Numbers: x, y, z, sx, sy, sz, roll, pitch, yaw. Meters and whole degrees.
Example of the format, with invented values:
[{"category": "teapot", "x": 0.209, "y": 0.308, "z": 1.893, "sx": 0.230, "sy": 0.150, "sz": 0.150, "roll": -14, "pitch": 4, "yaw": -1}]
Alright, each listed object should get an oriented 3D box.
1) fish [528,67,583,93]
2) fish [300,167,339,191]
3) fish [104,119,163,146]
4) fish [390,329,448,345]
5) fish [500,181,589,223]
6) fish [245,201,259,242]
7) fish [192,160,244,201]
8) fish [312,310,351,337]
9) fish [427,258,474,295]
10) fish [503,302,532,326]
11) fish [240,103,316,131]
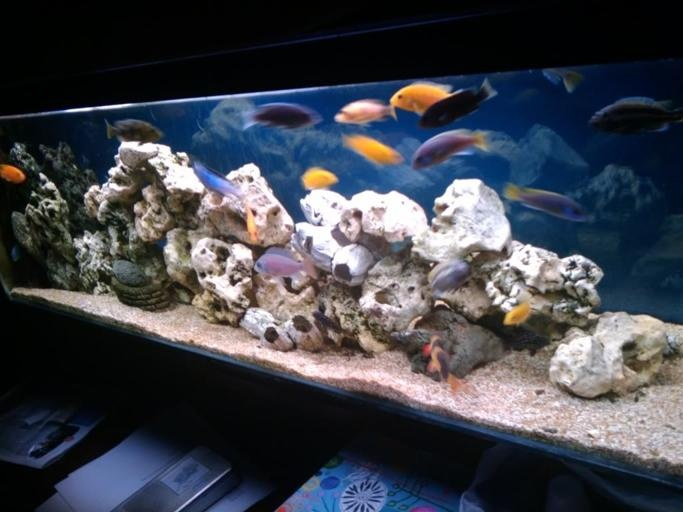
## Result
[{"category": "fish", "x": 0.781, "y": -0.643, "z": 1.920, "sx": 0.143, "sy": 0.071, "sz": 0.069, "roll": 19, "pitch": 45, "yaw": -13}, {"category": "fish", "x": -0.087, "y": -0.343, "z": 2.332, "sx": 0.176, "sy": 0.119, "sz": 0.035, "roll": 7, "pitch": 34, "yaw": 25}, {"category": "fish", "x": -1.070, "y": -0.638, "z": 2.709, "sx": 0.419, "sy": 0.141, "sz": 0.081, "roll": 16, "pitch": 42, "yaw": 30}, {"category": "fish", "x": 0.344, "y": 0.354, "z": 2.379, "sx": 0.261, "sy": 0.088, "sz": 0.076, "roll": 4, "pitch": 58, "yaw": 8}, {"category": "fish", "x": 0.785, "y": -0.210, "z": 2.022, "sx": 0.240, "sy": 0.081, "sz": 0.040, "roll": 22, "pitch": 53, "yaw": 25}, {"category": "fish", "x": -0.428, "y": -0.166, "z": 2.633, "sx": 0.048, "sy": 0.208, "sz": 0.059, "roll": -4, "pitch": 17, "yaw": 18}, {"category": "fish", "x": -0.605, "y": -0.373, "z": 2.618, "sx": 0.308, "sy": 0.173, "sz": 0.026, "roll": 18, "pitch": 43, "yaw": 33}, {"category": "fish", "x": -0.066, "y": 0.325, "z": 2.639, "sx": 0.233, "sy": 0.093, "sz": 0.062, "roll": 41, "pitch": 98, "yaw": 28}, {"category": "fish", "x": 0.457, "y": 0.087, "z": 2.268, "sx": 0.161, "sy": 0.134, "sz": 0.064, "roll": -40, "pitch": -4, "yaw": 22}, {"category": "fish", "x": 0.726, "y": 0.243, "z": 2.189, "sx": 0.102, "sy": 0.081, "sz": 0.031, "roll": -34, "pitch": 5, "yaw": 20}, {"category": "fish", "x": -0.256, "y": -0.599, "z": 2.275, "sx": 0.307, "sy": 0.125, "sz": 0.073, "roll": 1, "pitch": 50, "yaw": 11}]
